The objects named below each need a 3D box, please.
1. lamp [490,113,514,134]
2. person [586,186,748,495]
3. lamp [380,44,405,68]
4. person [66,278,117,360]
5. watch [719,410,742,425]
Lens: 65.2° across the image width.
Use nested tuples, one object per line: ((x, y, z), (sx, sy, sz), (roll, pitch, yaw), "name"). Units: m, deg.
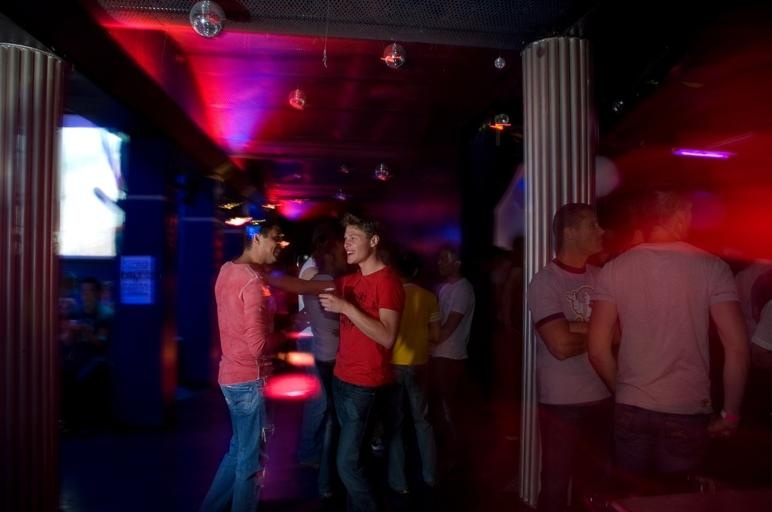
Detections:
((1.155, -1.370, 6.214), (0.233, 0.222, 0.235), (-1, -1, 33), "lamp")
((1.852, 0.491, 4.019), (0.983, 1.852, 0.232), (-1, -4, 6), "person")
((0.073, -1.758, 5.383), (0.276, 0.263, 0.098), (-4, 11, 0), "lamp")
((-3.304, 0.694, 6.750), (0.449, 0.892, 0.217), (1, -4, -23), "person")
((2.228, 1.049, 3.914), (0.101, 0.036, 0.081), (12, -26, 40), "watch")
